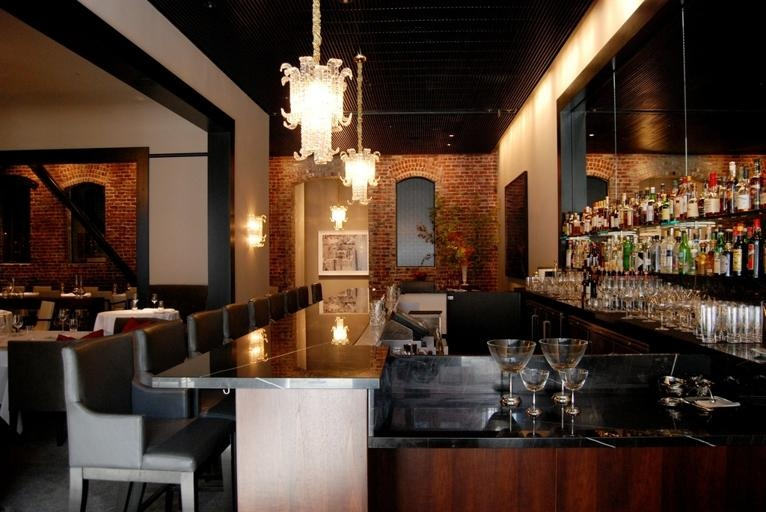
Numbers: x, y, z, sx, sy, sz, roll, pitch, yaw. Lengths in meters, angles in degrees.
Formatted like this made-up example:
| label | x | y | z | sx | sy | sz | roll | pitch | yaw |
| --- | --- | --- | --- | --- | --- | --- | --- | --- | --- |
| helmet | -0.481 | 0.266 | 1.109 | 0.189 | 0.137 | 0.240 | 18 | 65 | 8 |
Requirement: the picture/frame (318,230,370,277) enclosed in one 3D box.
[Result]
| label | x | y | z | sx | sy | sz | roll | pitch | yaw |
| --- | --- | --- | --- | --- | --- | --- | --- | --- | --- |
| picture/frame | -0.882 | -0.018 | 13.809 | 1.042 | 0.892 | 0.070 | 0 | -6 | 1 |

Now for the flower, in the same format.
| label | x | y | z | sx | sy | sz | roll | pitch | yaw |
| --- | --- | --- | --- | --- | --- | --- | --- | --- | --- |
| flower | 1.599 | -0.311 | 11.937 | 1.817 | 2.356 | 0.947 | 0 | -3 | -3 |

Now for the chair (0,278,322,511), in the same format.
| label | x | y | z | sx | sy | sz | roll | pitch | yaw |
| --- | --- | --- | --- | --- | --- | --- | --- | --- | --- |
| chair | -1.887 | 1.250 | 5.269 | 1.257 | 1.478 | 2.380 | 0 | -1 | -11 |

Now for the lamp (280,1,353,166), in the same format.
| label | x | y | z | sx | sy | sz | roll | pitch | yaw |
| --- | --- | --- | --- | --- | --- | --- | --- | --- | --- |
| lamp | -0.611 | -1.723 | 5.903 | 0.690 | 1.568 | 0.840 | 0 | -1 | -32 |
